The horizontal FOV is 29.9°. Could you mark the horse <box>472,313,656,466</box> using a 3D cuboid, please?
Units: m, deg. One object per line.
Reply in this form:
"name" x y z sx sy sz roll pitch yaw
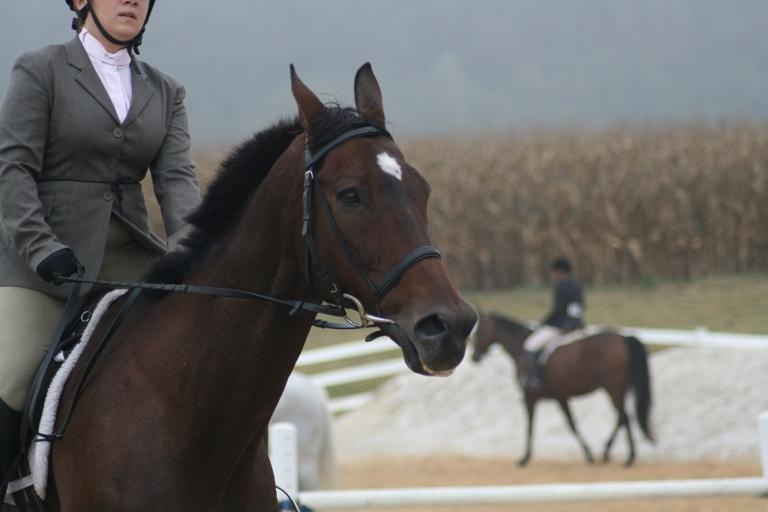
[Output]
"horse" 1.751 1.297 14.350 2.034 1.475 0.484 0 0 31
